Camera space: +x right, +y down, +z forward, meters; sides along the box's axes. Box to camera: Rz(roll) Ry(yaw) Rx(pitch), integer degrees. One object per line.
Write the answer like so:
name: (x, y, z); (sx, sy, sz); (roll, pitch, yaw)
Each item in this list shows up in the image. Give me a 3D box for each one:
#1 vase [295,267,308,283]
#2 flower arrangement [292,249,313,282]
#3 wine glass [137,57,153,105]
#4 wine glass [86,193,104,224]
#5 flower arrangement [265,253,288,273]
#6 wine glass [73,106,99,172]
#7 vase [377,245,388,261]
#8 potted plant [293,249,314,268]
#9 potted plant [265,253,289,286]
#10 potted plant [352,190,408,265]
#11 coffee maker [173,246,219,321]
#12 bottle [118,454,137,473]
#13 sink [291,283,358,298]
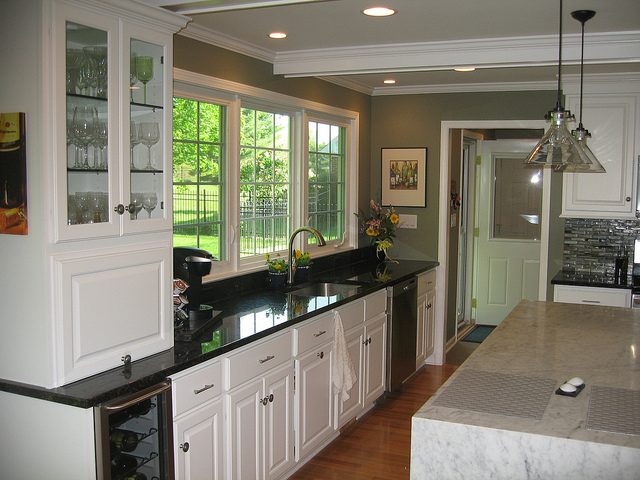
vase: (-0.152, 0.292, 4.178); (0.116, 0.123, 0.116); (-4, 8, -31)
flower arrangement: (-0.139, 0.230, 4.310); (0.215, 0.295, 0.247); (-3, 9, -17)
wine glass: (-0.889, -0.826, 2.487); (0.095, 0.321, 0.096); (0, 39, -19)
wine glass: (-1.032, -0.150, 2.266); (0.075, 0.131, 0.078); (6, 12, 30)
flower arrangement: (-0.351, 0.189, 4.023); (0.148, 0.111, 0.158); (-7, 8, -41)
wine glass: (-1.068, -0.467, 2.226); (0.109, 0.300, 0.113); (8, 15, 20)
vase: (0.704, 0.141, 5.433); (0.108, 0.184, 0.234); (2, 8, 7)
potted plant: (-0.159, 0.153, 4.245); (0.146, 0.167, 0.157); (1, 4, 32)
potted plant: (-0.339, 0.236, 3.966); (0.204, 0.290, 0.217); (1, 6, 19)
potted plant: (0.687, -0.159, 5.498); (0.450, 0.806, 0.579); (5, 9, 28)
coffee maker: (-0.754, 0.243, 3.055); (0.235, 0.441, 0.199); (9, 10, 27)
bottle: (-0.876, 1.009, 2.227); (0.014, 0.084, 0.083); (5, 9, 29)
sink: (0.028, 0.451, 4.279); (0.575, 0.125, 0.261); (-3, 9, -28)
